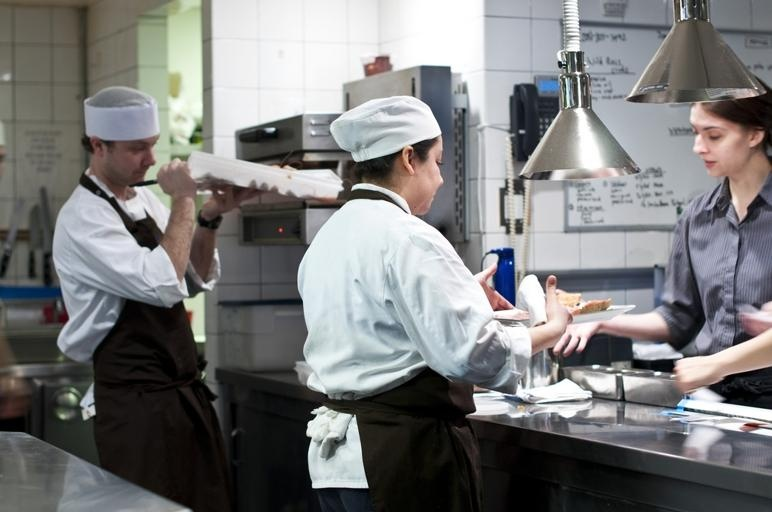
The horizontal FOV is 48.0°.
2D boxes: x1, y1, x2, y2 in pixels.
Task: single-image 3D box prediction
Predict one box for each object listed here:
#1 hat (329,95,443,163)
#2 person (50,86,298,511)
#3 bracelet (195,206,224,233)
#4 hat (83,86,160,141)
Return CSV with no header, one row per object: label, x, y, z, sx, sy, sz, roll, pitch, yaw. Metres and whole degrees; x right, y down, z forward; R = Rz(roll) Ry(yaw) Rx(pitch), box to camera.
hat,-0.013,-0.421,2.808,0.281,0.176,0.223,-11,11,4
person,-1.019,0.178,3.513,0.547,1.720,0.670,-7,10,-40
bracelet,-0.753,-0.157,3.743,0.090,0.102,0.090,6,-2,-43
hat,-1.064,-0.575,3.563,0.235,0.163,0.247,4,10,21
